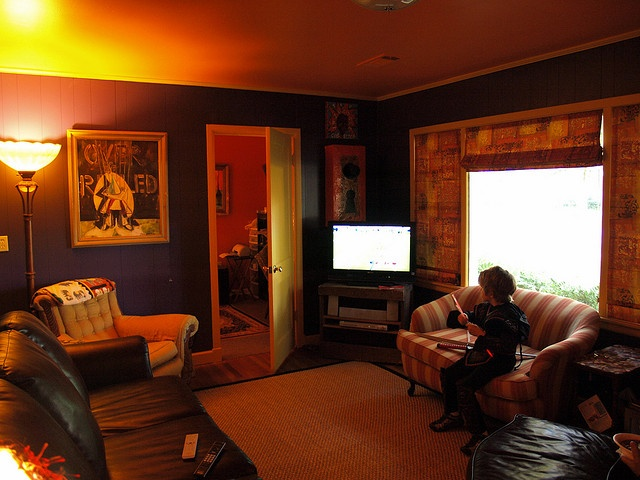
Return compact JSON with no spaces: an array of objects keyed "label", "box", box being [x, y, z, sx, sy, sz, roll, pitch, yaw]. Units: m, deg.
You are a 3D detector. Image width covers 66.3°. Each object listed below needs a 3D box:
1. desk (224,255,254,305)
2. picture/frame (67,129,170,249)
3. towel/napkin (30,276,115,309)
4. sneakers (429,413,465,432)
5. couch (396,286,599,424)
[{"label":"desk","box":[-1.308,0.669,8.105,0.621,0.979,0.608,1,0,-21]},{"label":"picture/frame","box":[-1.979,-0.512,4.696,1.096,1.391,0.090,-1,6,-29]},{"label":"towel/napkin","box":[-2.106,0.444,4.270,0.281,0.116,0.410,13,12,38]},{"label":"sneakers","box":[0.974,1.426,3.833,0.287,0.129,0.109,-3,2,-7]},{"label":"couch","box":[1.494,0.884,3.934,1.035,0.888,1.331,5,-3,-32]}]
